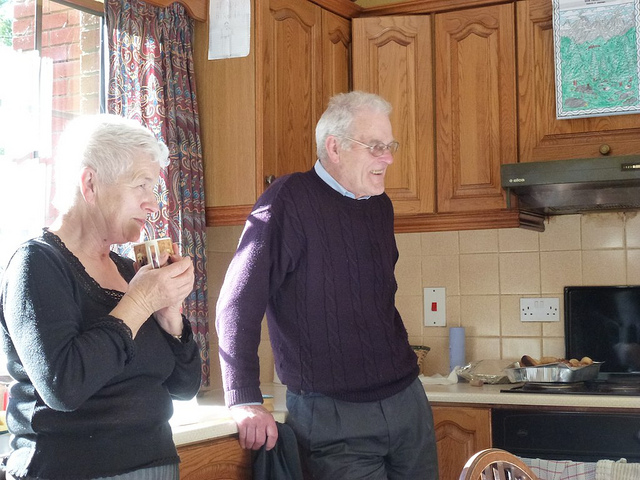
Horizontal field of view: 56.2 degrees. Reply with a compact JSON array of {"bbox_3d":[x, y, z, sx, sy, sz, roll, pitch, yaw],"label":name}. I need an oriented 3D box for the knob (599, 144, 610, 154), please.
[{"bbox_3d":[1.206,-0.389,2.537,0.040,0.042,0.032,-2,0,14],"label":"knob"}]

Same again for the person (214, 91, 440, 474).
[{"bbox_3d":[0.014,0.127,1.841,0.650,1.151,0.269,-2,0,-30],"label":"person"}]

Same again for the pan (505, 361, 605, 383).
[{"bbox_3d":[0.984,0.559,2.528,0.389,0.096,0.195,-2,0,16],"label":"pan"}]

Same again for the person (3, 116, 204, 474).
[{"bbox_3d":[-0.476,0.133,1.395,0.276,0.744,0.472,-2,0,42],"label":"person"}]

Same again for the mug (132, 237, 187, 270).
[{"bbox_3d":[-0.406,0.032,1.474,0.085,0.063,0.068,-9,-3,-15],"label":"mug"}]
